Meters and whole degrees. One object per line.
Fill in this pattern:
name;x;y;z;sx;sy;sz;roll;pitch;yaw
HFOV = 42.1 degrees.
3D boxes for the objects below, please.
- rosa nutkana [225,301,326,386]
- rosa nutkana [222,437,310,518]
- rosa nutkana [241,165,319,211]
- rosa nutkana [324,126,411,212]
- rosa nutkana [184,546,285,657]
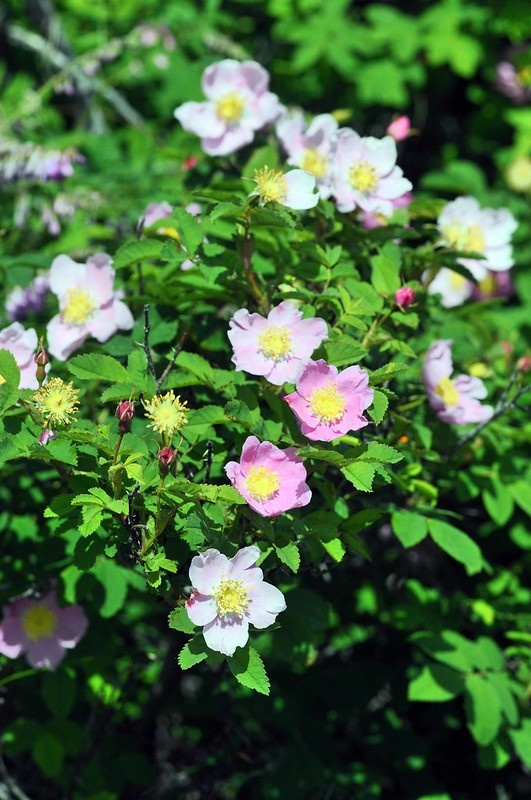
rosa nutkana;0.017;-0.083;1.127;0.156;0.133;0.107;5;33;3
rosa nutkana;0.001;0.120;1.056;0.122;0.126;0.083;-8;35;-17
rosa nutkana;0.033;-0.348;1.139;0.101;0.064;0.146;6;32;5
rosa nutkana;0.201;-0.443;1.337;0.152;0.137;0.112;5;33;3
rosa nutkana;-0.052;0.302;1.018;0.121;0.162;0.103;-22;41;-33
